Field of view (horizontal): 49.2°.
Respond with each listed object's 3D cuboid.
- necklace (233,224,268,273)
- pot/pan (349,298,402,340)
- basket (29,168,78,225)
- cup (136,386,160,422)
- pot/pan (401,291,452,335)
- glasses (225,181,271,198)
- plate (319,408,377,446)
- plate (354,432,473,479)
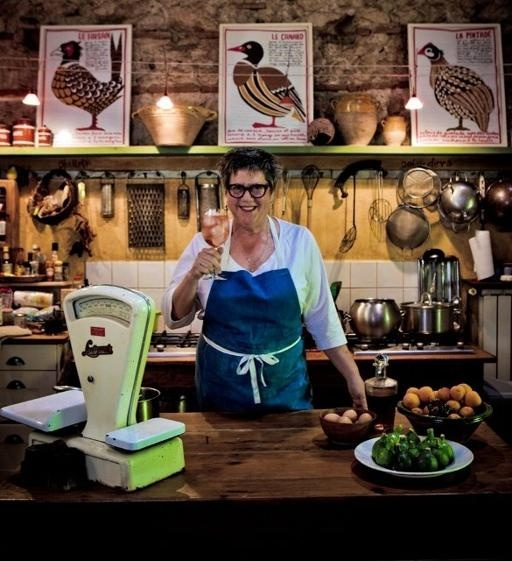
[{"bbox_3d":[-0.026,-0.121,2.182,0.129,0.181,0.049,0,2,2],"label":"necklace"},{"bbox_3d":[0.749,0.248,3.456,0.275,0.179,0.297,0,-2,2],"label":"pot/pan"},{"bbox_3d":[-1.487,-0.594,4.034,0.364,0.407,0.200,-2,9,-5],"label":"basket"},{"bbox_3d":[-0.327,0.378,1.700,0.096,0.082,0.087,1,5,6],"label":"cup"},{"bbox_3d":[1.135,0.229,3.725,0.342,0.270,0.280,2,9,17],"label":"pot/pan"},{"bbox_3d":[-0.030,-0.319,2.004,0.145,0.051,0.059,-1,9,-1],"label":"glasses"},{"bbox_3d":[0.273,0.441,1.683,0.138,0.054,0.124,0,-5,-2],"label":"plate"},{"bbox_3d":[0.425,0.498,1.539,0.318,0.065,0.223,2,9,18],"label":"plate"}]
